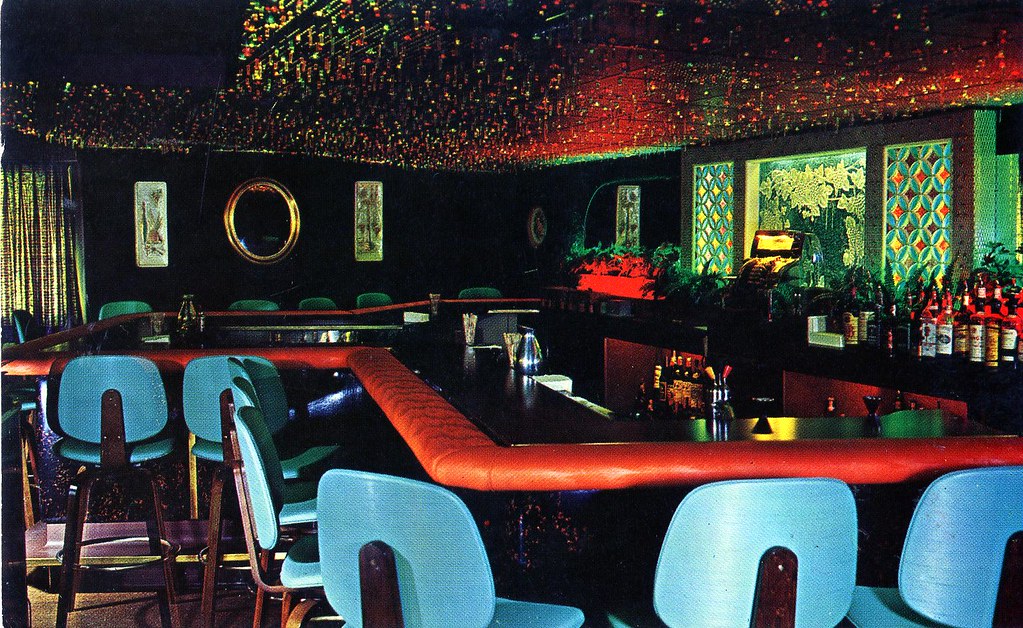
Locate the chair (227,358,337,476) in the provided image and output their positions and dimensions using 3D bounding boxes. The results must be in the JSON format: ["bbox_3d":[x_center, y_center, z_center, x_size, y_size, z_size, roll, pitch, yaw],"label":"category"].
[{"bbox_3d":[-1.424,0.628,5.309,0.758,0.864,0.642,-4,6,-20],"label":"chair"}]

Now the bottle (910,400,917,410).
[{"bbox_3d":[2.990,0.687,6.595,0.052,0.090,0.051,-1,-6,0],"label":"bottle"}]

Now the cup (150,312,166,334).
[{"bbox_3d":[-2.947,0.081,7.394,0.095,0.157,0.431,0,2,-23],"label":"cup"}]

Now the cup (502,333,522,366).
[{"bbox_3d":[0.004,0.246,6.007,0.199,0.271,0.168,-1,-2,-3],"label":"cup"}]

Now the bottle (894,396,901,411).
[{"bbox_3d":[2.932,0.680,6.740,0.031,0.099,0.121,2,3,14],"label":"bottle"}]

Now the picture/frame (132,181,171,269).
[{"bbox_3d":[-4.965,-1.232,12.231,0.413,1.178,0.164,-1,4,-29],"label":"picture/frame"}]

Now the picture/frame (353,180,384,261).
[{"bbox_3d":[-2.133,-1.387,13.266,0.466,1.200,0.152,0,3,-18],"label":"picture/frame"}]

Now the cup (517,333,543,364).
[{"bbox_3d":[0.128,0.233,5.853,0.186,0.220,0.136,0,3,-16],"label":"cup"}]

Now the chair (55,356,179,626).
[{"bbox_3d":[-2.514,1.122,5.713,0.807,1.733,0.664,0,3,-13],"label":"chair"}]
